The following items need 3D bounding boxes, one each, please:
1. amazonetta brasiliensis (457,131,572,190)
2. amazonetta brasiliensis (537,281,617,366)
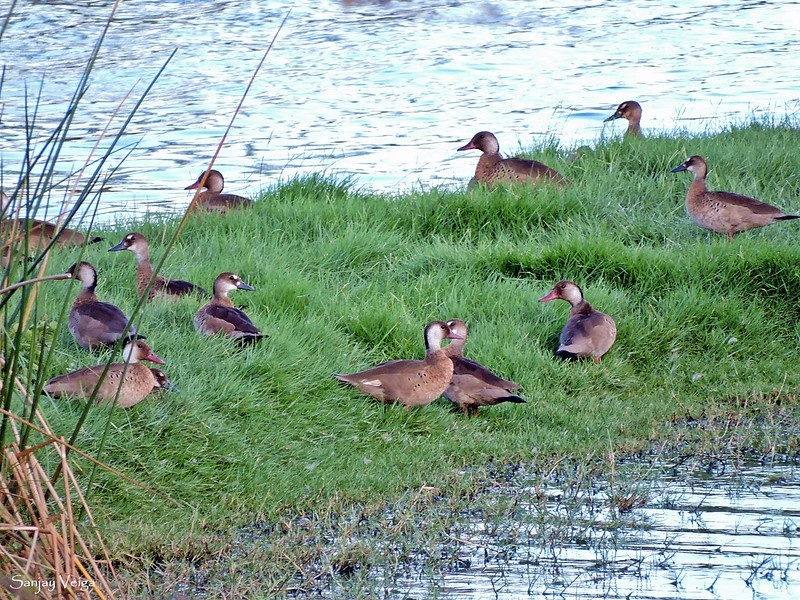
[{"bbox_3d":[1.295,-1.787,14.066,0.775,0.601,1.524,-25,35,-25],"label":"amazonetta brasiliensis"},{"bbox_3d":[1.606,0.238,9.986,0.562,0.668,0.670,-10,33,-1],"label":"amazonetta brasiliensis"}]
